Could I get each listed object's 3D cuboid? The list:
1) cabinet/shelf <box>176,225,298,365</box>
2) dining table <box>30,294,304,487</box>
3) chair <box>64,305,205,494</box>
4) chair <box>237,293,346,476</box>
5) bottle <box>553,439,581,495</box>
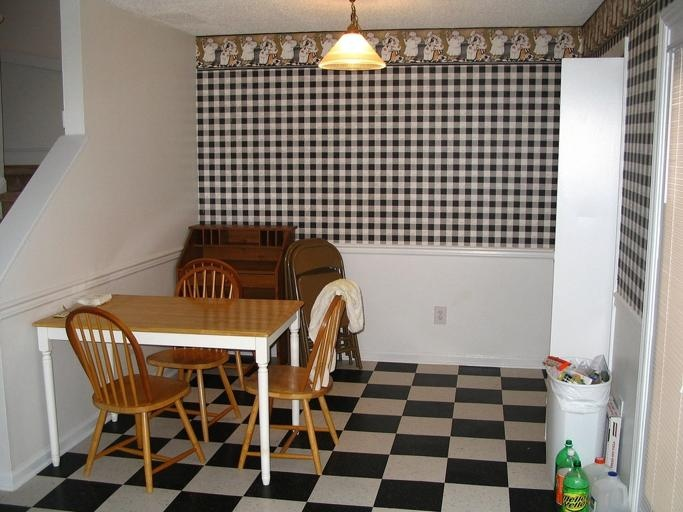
[{"bbox_3d":[-0.974,0.346,5.021,0.923,1.240,0.626,3,8,5],"label":"cabinet/shelf"},{"bbox_3d":[-1.237,0.926,3.525,1.381,0.925,0.830,5,-9,-10],"label":"dining table"},{"bbox_3d":[-1.283,0.824,3.357,0.675,1.163,0.665,-2,7,4],"label":"chair"},{"bbox_3d":[-0.325,0.754,3.568,0.692,1.111,0.755,0,12,0],"label":"chair"},{"bbox_3d":[1.299,1.192,3.063,0.142,0.147,0.387,-12,21,30],"label":"bottle"}]
